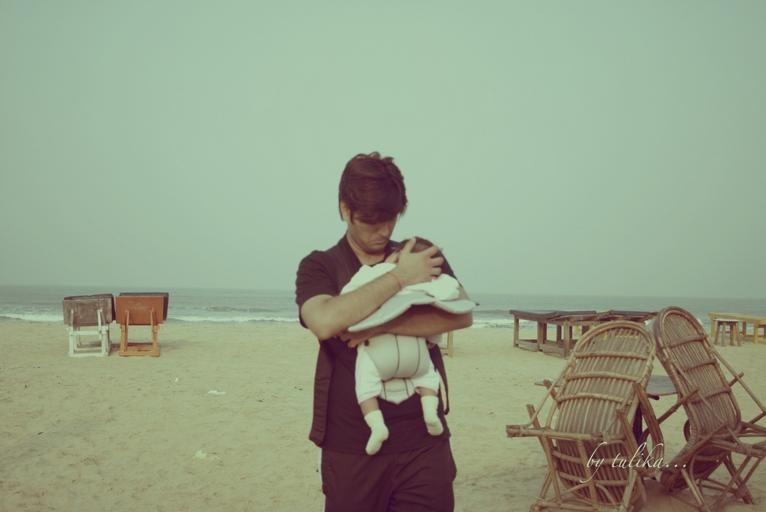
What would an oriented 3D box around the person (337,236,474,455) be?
[{"bbox_3d":[0.134,1.012,7.027,1.275,1.862,0.644,-1,-11,-9],"label":"person"}]
